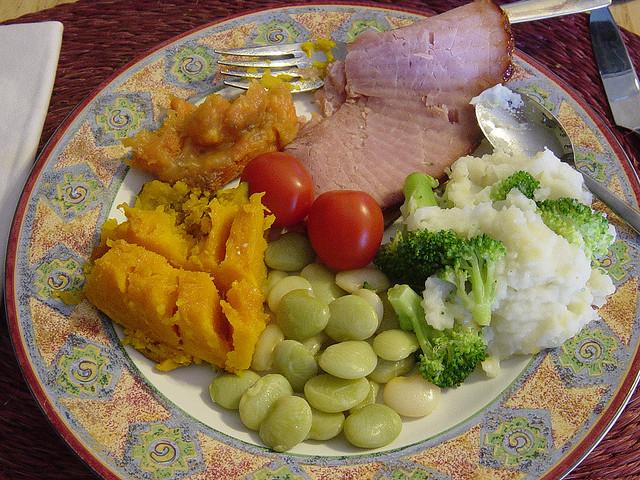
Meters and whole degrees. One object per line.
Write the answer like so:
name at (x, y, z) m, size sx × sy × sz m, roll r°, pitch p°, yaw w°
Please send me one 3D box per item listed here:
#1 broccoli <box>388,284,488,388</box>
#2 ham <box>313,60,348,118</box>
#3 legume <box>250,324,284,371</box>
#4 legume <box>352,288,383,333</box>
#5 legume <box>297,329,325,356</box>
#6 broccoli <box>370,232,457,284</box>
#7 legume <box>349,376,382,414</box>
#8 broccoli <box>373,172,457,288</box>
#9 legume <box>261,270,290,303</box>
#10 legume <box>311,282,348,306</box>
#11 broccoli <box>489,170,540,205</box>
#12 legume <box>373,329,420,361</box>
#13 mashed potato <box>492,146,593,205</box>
broccoli at (0.674, 0.550, 3.706) m, size 0.414 × 0.321 × 0.648 m, roll -38°, pitch 75°, yaw 9°
ham at (0.082, -1.037, 4.479) m, size 0.215 × 0.380 × 0.158 m, roll 19°, pitch 36°, yaw 31°
legume at (-0.324, 0.603, 3.696) m, size 0.142 × 0.073 × 0.255 m, roll 44°, pitch 63°, yaw -29°
legume at (0.277, 0.392, 3.686) m, size 0.037 × 0.176 × 0.181 m, roll -44°, pitch 86°, yaw -6°
legume at (-0.052, 0.565, 3.682) m, size 0.059 × 0.128 × 0.129 m, roll 43°, pitch 43°, yaw 3°
broccoli at (0.529, 0.094, 3.719) m, size 0.275 × 0.353 × 0.204 m, roll 22°, pitch 81°, yaw -13°
legume at (0.253, 0.846, 3.578) m, size 0.186 × 0.141 × 0.047 m, roll -37°, pitch 103°, yaw -41°
broccoli at (0.565, -0.108, 3.808) m, size 0.453 × 0.321 × 0.677 m, roll 8°, pitch 77°, yaw -5°
legume at (-0.290, 0.256, 3.851) m, size 0.131 × 0.093 × 0.169 m, roll -3°, pitch 50°, yaw 2°
legume at (0.047, 0.303, 3.809) m, size 0.163 × 0.030 × 0.128 m, roll 11°, pitch 54°, yaw -14°
broccoli at (1.116, -0.328, 3.741) m, size 0.189 × 0.073 × 0.207 m, roll -50°, pitch 37°, yaw -4°
legume at (0.423, 0.576, 3.561) m, size 0.201 × 0.159 × 0.116 m, roll -7°, pitch 67°, yaw -13°
mashed potato at (1.329, -0.385, 3.907) m, size 0.446 × 0.365 × 0.495 m, roll 0°, pitch 28°, yaw 8°
